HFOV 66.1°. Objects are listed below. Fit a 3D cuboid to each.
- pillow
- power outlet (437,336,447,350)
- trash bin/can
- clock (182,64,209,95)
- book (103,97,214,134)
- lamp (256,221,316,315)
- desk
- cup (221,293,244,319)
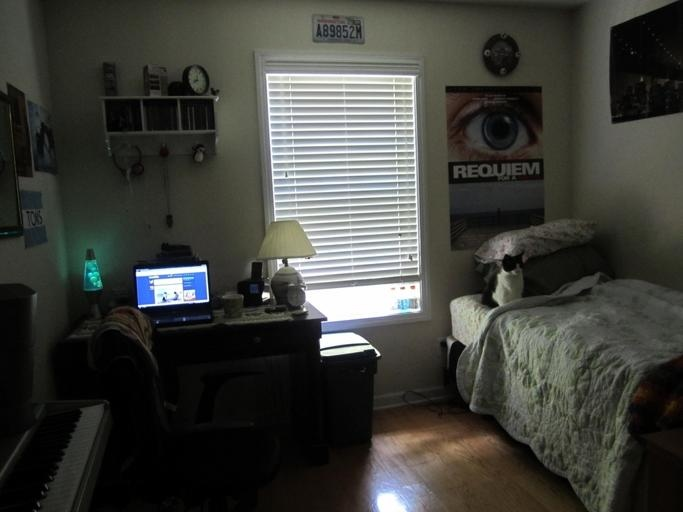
[{"bbox_3d":[1.474,-0.084,3.909,0.848,0.317,0.498,-4,13,-1],"label":"pillow"},{"bbox_3d":[0.797,0.681,4.165,0.073,0.094,0.130,-2,6,-11],"label":"power outlet"},{"bbox_3d":[0.049,0.928,3.779,0.534,0.851,0.609,-1,1,-17],"label":"trash bin/can"},{"bbox_3d":[-0.962,-1.177,3.509,0.199,0.194,0.134,-10,14,-29],"label":"clock"},{"bbox_3d":[-1.174,-0.925,3.434,0.711,0.253,0.172,-7,12,-14],"label":"book"},{"bbox_3d":[-0.314,0.051,3.688,0.465,0.808,0.517,-1,4,-2],"label":"lamp"},{"bbox_3d":[-0.790,0.656,2.793,0.975,0.719,0.512,-2,3,-23],"label":"desk"},{"bbox_3d":[-0.697,0.324,3.319,0.134,0.114,0.111,0,3,21],"label":"cup"}]
